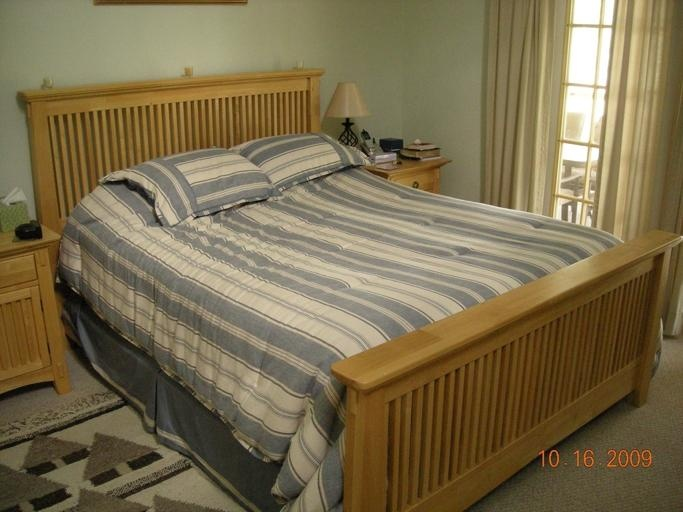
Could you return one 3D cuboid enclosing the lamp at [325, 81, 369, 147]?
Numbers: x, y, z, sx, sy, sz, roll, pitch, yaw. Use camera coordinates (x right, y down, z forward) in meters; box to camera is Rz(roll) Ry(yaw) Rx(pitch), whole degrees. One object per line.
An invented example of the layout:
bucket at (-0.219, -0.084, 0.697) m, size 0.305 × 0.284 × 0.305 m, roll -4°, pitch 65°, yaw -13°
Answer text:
lamp at (0.040, -1.088, 4.001) m, size 0.404 × 0.520 × 0.366 m, roll -11°, pitch 19°, yaw -26°
